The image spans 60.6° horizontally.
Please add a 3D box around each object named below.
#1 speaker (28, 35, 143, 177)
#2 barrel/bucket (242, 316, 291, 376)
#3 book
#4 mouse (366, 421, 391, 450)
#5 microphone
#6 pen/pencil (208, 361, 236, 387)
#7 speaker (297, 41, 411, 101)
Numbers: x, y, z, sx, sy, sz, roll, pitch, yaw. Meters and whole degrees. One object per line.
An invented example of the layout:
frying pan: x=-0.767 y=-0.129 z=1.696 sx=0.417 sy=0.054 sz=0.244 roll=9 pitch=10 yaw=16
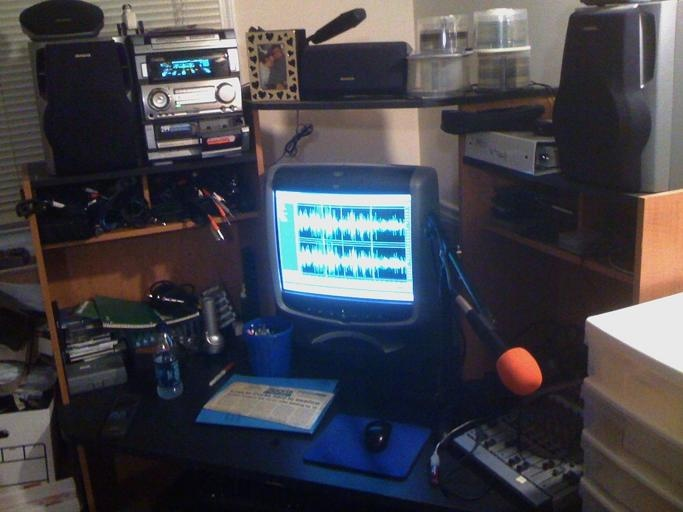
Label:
speaker: x=-0.826 y=-0.476 z=1.876 sx=0.297 sy=0.413 sz=0.091 roll=-18 pitch=23 yaw=-27
barrel/bucket: x=-0.256 y=0.276 z=1.965 sx=0.162 sy=0.179 sz=0.178 roll=-1 pitch=12 yaw=0
book: x=-0.712 y=0.238 z=2.128 sx=0.431 sy=0.150 sz=0.299 roll=-8 pitch=15 yaw=-19
mouse: x=0.090 y=0.485 z=1.591 sx=0.067 sy=0.049 sz=0.088 roll=1 pitch=23 yaw=21
microphone: x=0.319 y=0.175 z=1.386 sx=0.092 sy=0.103 sz=0.353 roll=23 pitch=28 yaw=-44
pen/pencil: x=-0.410 y=0.397 z=1.943 sx=0.028 sy=0.022 sz=0.153 roll=-35 pitch=6 yaw=13
speaker: x=0.036 y=-0.645 z=2.002 sx=0.391 sy=0.182 sz=0.090 roll=-1 pitch=21 yaw=16
